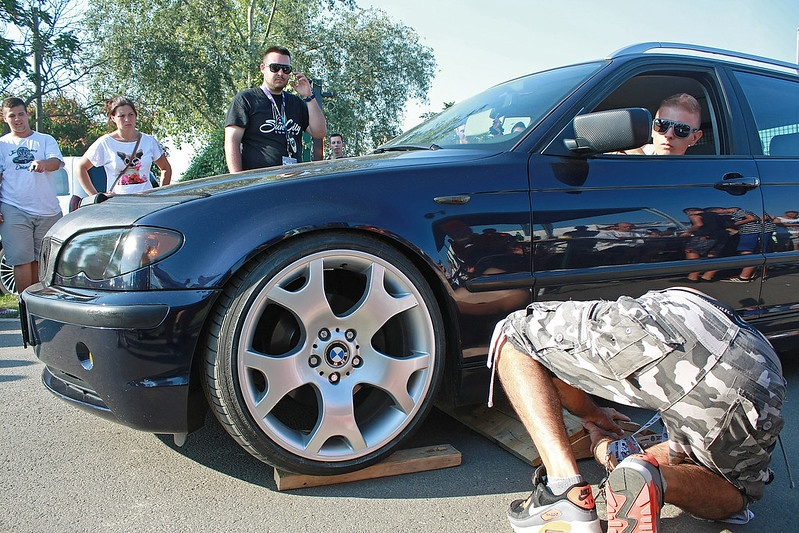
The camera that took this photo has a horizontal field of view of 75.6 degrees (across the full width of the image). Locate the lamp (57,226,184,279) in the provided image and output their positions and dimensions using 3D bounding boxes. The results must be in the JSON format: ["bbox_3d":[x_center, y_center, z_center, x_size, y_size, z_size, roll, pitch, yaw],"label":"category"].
[{"bbox_3d":[-1.243,-0.060,2.261,0.613,0.237,0.162,6,16,23],"label":"lamp"}]

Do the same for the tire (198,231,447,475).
[{"bbox_3d":[-0.357,0.369,2.335,1.146,1.126,0.479,2,-2,-2],"label":"tire"}]
